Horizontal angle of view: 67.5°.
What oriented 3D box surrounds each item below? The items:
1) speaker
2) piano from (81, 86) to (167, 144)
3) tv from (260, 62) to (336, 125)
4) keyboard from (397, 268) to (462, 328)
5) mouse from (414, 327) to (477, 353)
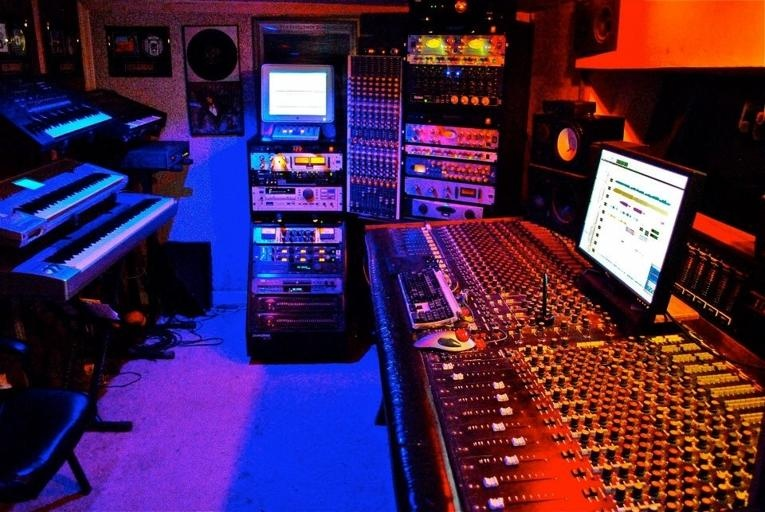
[{"bbox_3d":[1.203,-0.685,3.471,0.387,0.356,0.548,-8,19,-20],"label":"speaker"},{"bbox_3d":[-2.016,-1.085,4.402,0.565,0.193,0.544,21,29,-3],"label":"piano"},{"bbox_3d":[-0.624,-1.204,4.270,0.494,0.334,0.061,0,9,0],"label":"tv"},{"bbox_3d":[0.222,0.183,2.770,0.233,0.089,0.374,-6,41,-9],"label":"keyboard"},{"bbox_3d":[0.278,0.354,2.473,0.200,0.061,0.109,-1,29,0],"label":"mouse"}]
